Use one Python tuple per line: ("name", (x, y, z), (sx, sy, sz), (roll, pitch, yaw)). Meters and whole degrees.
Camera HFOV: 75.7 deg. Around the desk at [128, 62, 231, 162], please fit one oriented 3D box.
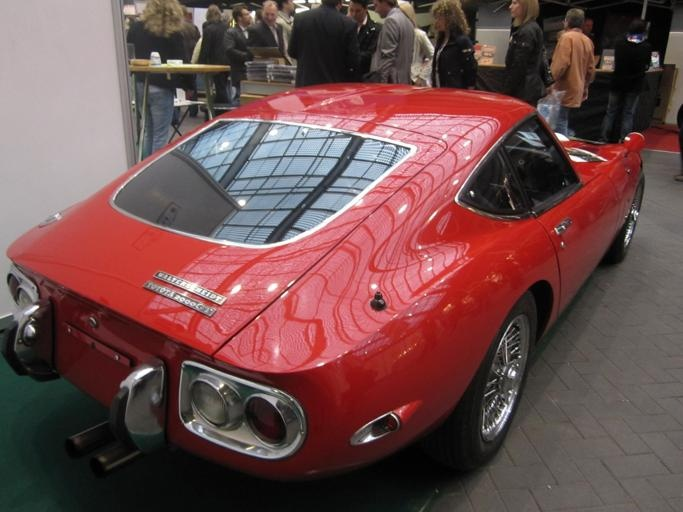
("desk", (-2.107, -1.940, 5.843), (1.120, 1.122, 1.472), (-17, 26, -21))
